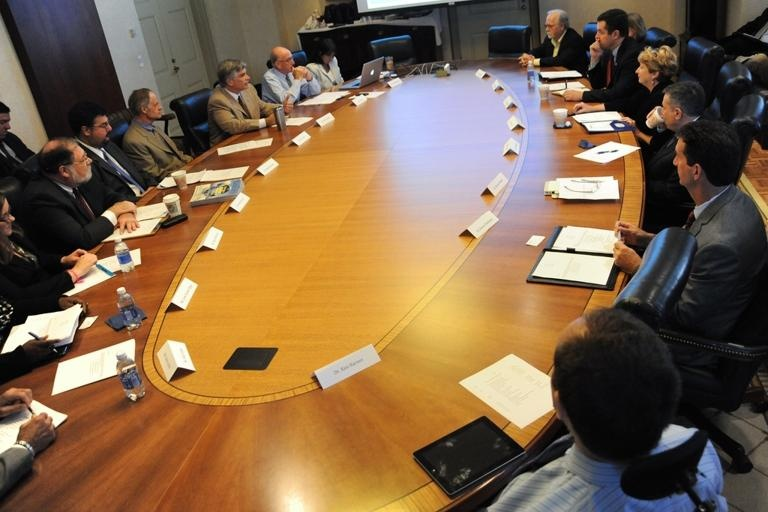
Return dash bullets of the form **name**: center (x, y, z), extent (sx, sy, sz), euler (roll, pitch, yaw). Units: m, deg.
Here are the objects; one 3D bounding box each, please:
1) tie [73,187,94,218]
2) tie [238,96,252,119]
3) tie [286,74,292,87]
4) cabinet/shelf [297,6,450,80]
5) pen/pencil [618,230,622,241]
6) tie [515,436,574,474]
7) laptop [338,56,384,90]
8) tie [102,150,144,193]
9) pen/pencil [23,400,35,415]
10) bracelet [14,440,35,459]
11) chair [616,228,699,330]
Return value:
- **tie**: center (-2.133, -0.359, 3.579), extent (0.079, 0.052, 0.477), euler (5, 26, -28)
- **tie**: center (-1.417, -1.485, 5.118), extent (0.069, 0.060, 0.393), euler (12, 39, -23)
- **tie**: center (-1.111, -2.013, 5.855), extent (0.055, 0.152, 0.015), euler (-1, -10, -21)
- **cabinet/shelf**: center (-0.067, -3.232, 7.656), extent (3.166, 1.126, 1.093), euler (12, 26, 23)
- **pen/pencil**: center (1.203, -0.096, 2.558), extent (0.012, 0.002, 0.075), euler (9, 41, 14)
- **tie**: center (0.546, 0.656, 1.669), extent (0.211, 0.049, 0.121), euler (-30, -1, -15)
- **laptop**: center (-0.278, -2.099, 5.918), extent (0.467, 0.336, 0.551), euler (7, 36, 32)
- **tie**: center (-2.204, -0.690, 4.243), extent (0.132, 0.099, 0.805), euler (-5, 36, -41)
- **pen/pencil**: center (-1.480, 0.634, 2.098), extent (0.021, 0.004, 0.062), euler (-27, 65, -25)
- **bracelet**: center (-1.339, 0.722, 1.875), extent (0.050, 0.052, 0.032), euler (25, 27, 15)
- **chair**: center (0.999, 0.100, 1.823), extent (0.170, 0.185, 0.416), euler (27, 53, 23)
